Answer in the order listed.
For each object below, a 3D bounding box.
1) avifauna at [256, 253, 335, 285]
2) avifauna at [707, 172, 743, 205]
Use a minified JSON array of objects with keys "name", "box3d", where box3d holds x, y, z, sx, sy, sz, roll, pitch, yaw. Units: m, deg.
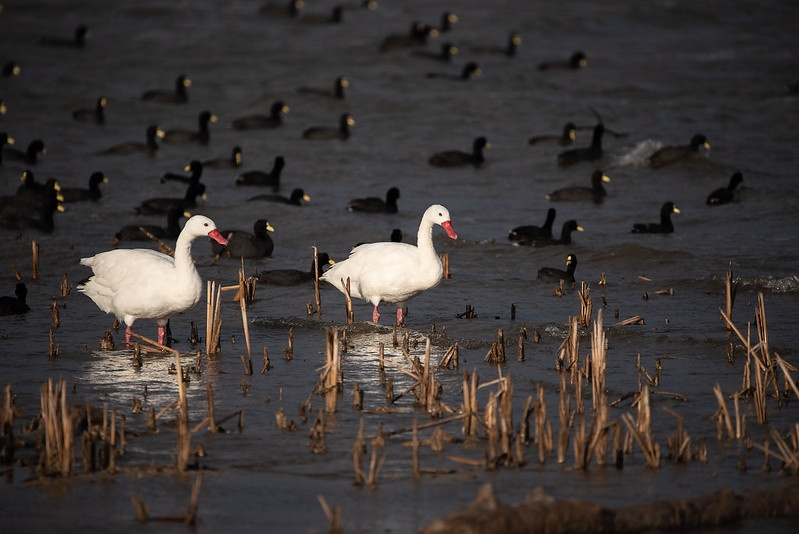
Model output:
[{"name":"avifauna","box3d":[-2.547,0.075,32.245,2.598,0.828,0.689,-3,20,-16]},{"name":"avifauna","box3d":[10.882,-2.584,41.190,1.662,0.636,0.540,-39,0,-34]}]
